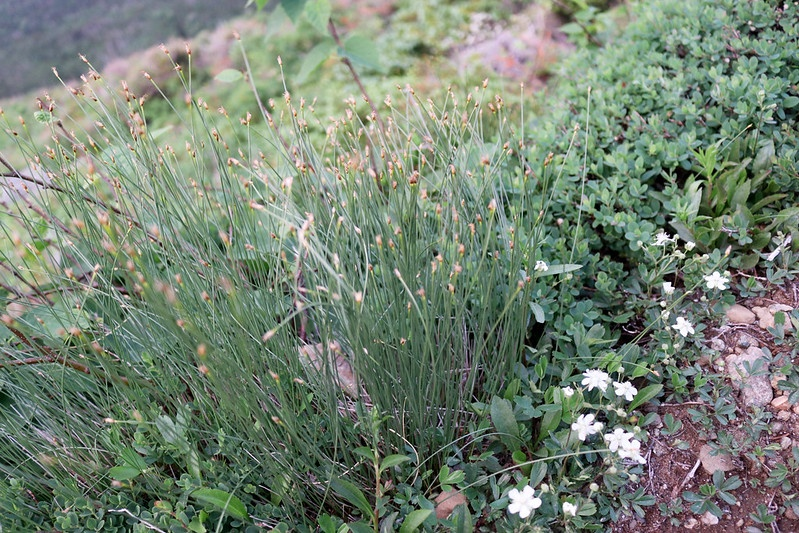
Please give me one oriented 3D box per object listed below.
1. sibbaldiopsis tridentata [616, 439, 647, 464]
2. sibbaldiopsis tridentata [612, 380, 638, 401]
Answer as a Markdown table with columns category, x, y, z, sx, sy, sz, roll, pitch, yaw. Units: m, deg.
| category | x | y | z | sx | sy | sz | roll | pitch | yaw |
| --- | --- | --- | --- | --- | --- | --- | --- | --- | --- |
| sibbaldiopsis tridentata | 0.907 | 0.730 | 2.425 | 0.091 | 0.133 | 0.104 | -7 | 40 | 17 |
| sibbaldiopsis tridentata | 0.920 | 0.506 | 2.498 | 0.087 | 0.034 | 0.095 | -11 | 78 | -11 |
